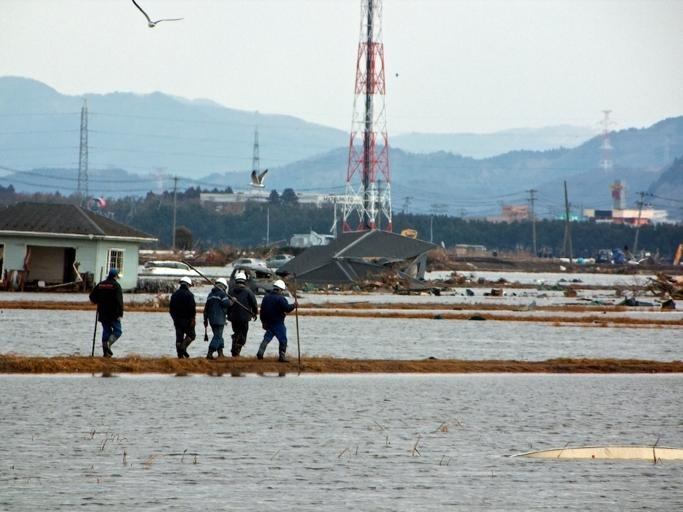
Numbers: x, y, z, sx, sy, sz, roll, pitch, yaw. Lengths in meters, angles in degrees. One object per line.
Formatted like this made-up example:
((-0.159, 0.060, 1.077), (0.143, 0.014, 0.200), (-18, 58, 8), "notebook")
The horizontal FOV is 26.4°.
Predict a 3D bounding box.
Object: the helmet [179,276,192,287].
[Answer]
((-5.092, 0.897, 48.012), (0.351, 0.410, 0.477), (2, 12, -6), "helmet")

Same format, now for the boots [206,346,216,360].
((-4.303, 3.231, 48.085), (0.342, 0.480, 0.299), (-2, -5, 17), "boots")

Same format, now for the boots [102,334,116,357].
((-7.627, 2.932, 47.739), (0.221, 0.697, 0.473), (7, 25, 41), "boots")

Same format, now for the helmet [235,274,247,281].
((-3.292, 0.672, 48.410), (0.333, 0.227, 0.584), (1, 1, -3), "helmet")

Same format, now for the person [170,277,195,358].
((-5.174, 2.012, 47.891), (0.781, 2.212, 1.002), (1, 0, -4), "person")

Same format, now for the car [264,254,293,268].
((-4.341, 0.528, 106.528), (1.939, 0.991, 1.165), (3, 3, 23), "car")

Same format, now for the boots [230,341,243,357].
((-3.384, 3.108, 48.772), (0.452, 0.694, 0.405), (-1, 0, 16), "boots")
